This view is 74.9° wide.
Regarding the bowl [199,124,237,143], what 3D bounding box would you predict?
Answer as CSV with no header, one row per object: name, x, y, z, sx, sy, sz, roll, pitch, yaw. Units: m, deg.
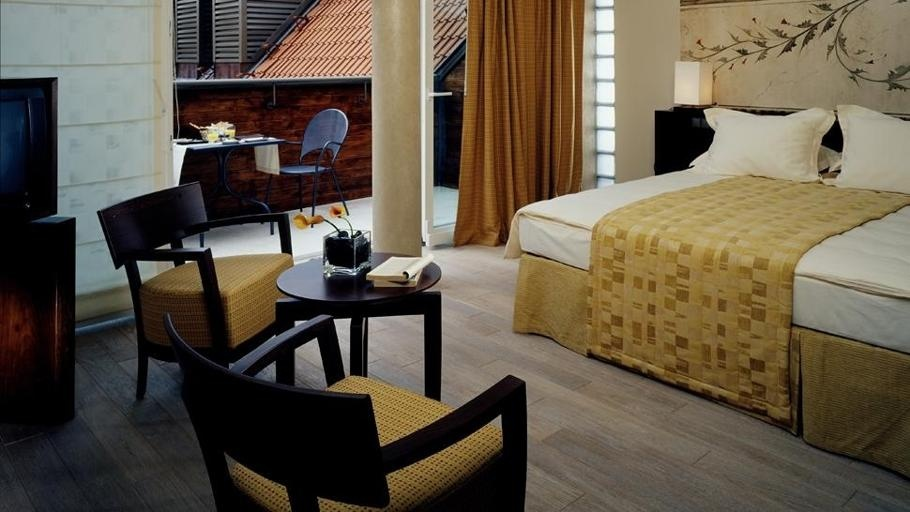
bowl,-2.257,-1.168,5.653,0.297,0.123,0.212,-4,6,-44

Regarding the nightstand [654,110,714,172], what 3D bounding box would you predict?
nightstand,2.043,-1.024,5.245,0.697,0.601,0.364,2,3,16

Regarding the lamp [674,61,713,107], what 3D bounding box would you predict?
lamp,2.139,-1.527,5.270,0.354,0.379,0.232,2,14,8

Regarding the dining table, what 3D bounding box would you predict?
dining table,-2.091,-0.614,5.402,0.731,0.947,1.104,9,14,33
